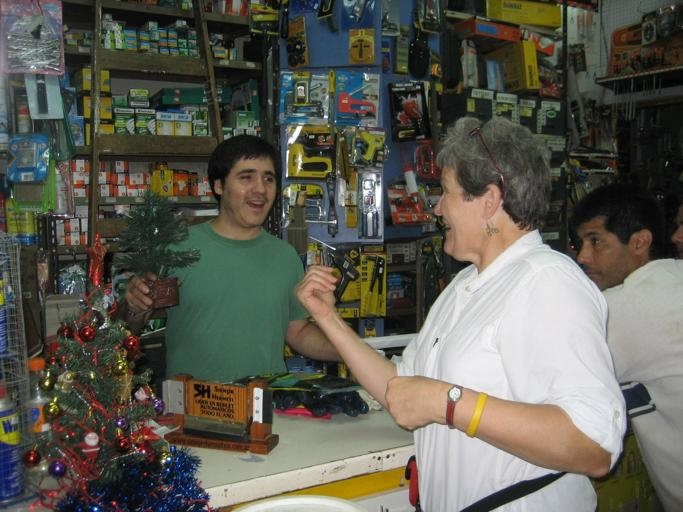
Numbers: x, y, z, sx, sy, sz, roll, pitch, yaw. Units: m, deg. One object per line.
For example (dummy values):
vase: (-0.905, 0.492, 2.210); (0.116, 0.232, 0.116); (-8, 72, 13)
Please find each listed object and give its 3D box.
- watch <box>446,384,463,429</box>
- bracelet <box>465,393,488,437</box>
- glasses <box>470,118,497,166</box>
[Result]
watch: (0.322, 0.446, 1.693); (0.041, 0.090, 0.089); (9, 15, 18)
bracelet: (0.379, 0.446, 1.638); (0.025, 0.098, 0.097); (14, 38, 4)
glasses: (0.454, -0.366, 1.881); (0.032, 0.111, 0.109); (-34, 39, -12)
